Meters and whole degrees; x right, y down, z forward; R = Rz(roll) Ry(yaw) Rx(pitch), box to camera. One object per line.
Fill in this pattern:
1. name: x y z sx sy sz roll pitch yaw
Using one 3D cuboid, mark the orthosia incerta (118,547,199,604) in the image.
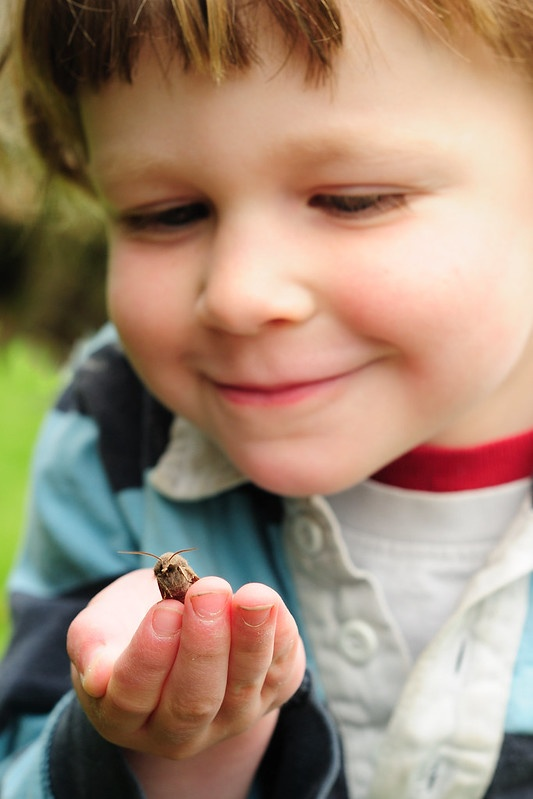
1. orthosia incerta: -0.094 0.155 0.704 0.076 0.062 0.034 -7 53 21
